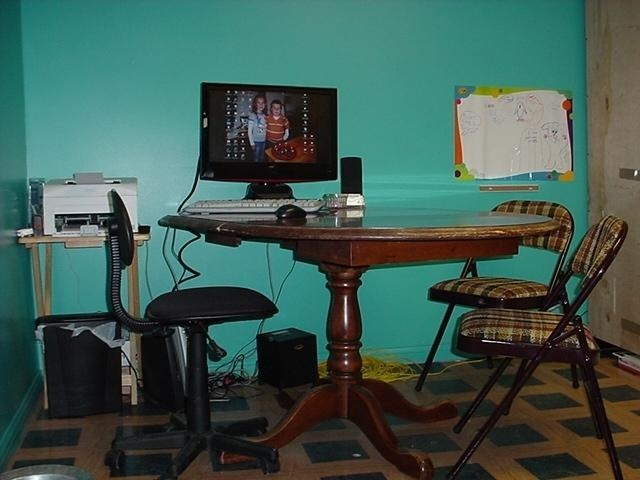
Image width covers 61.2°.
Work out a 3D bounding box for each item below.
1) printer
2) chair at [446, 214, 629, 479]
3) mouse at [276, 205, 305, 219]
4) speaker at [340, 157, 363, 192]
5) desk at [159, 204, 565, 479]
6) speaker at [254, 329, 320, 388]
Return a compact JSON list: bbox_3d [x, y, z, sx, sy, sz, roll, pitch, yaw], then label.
[{"bbox_3d":[-1.220,-0.189,2.821,0.582,0.335,0.366,-2,5,-16],"label":"printer"},{"bbox_3d":[0.974,0.424,2.448,0.701,1.060,0.858,1,12,16],"label":"chair"},{"bbox_3d":[-0.123,-0.115,2.204,0.102,0.028,0.058,-6,12,-44],"label":"mouse"},{"bbox_3d":[0.181,-0.373,3.126,0.120,0.203,0.216,-3,11,1],"label":"speaker"},{"bbox_3d":[0.318,0.251,2.470,1.693,0.832,1.300,1,1,29],"label":"desk"},{"bbox_3d":[-0.175,0.669,3.196,0.346,0.298,0.334,-1,0,-37],"label":"speaker"}]
